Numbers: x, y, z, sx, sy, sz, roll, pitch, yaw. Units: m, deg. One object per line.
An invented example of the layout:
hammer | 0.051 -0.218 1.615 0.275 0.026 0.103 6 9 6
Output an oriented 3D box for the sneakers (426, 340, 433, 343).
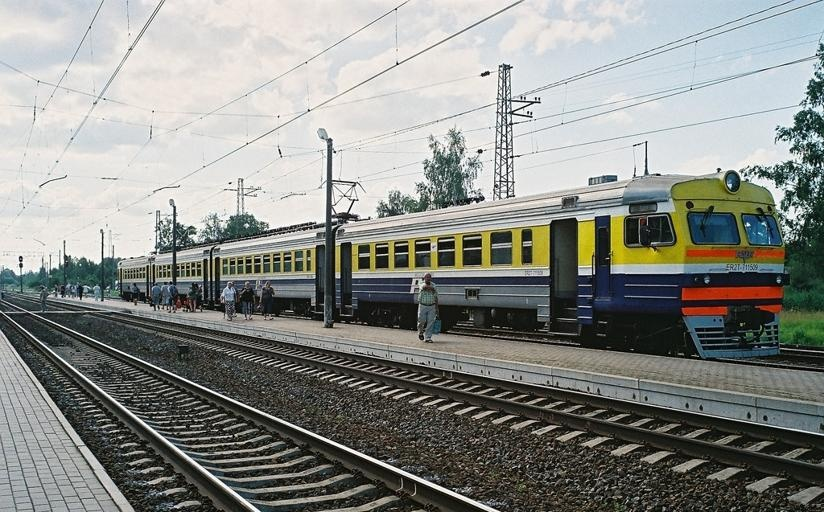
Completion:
sneakers | 0.542 2.587 20.606 0.079 0.099 0.226 3 -13 -30
